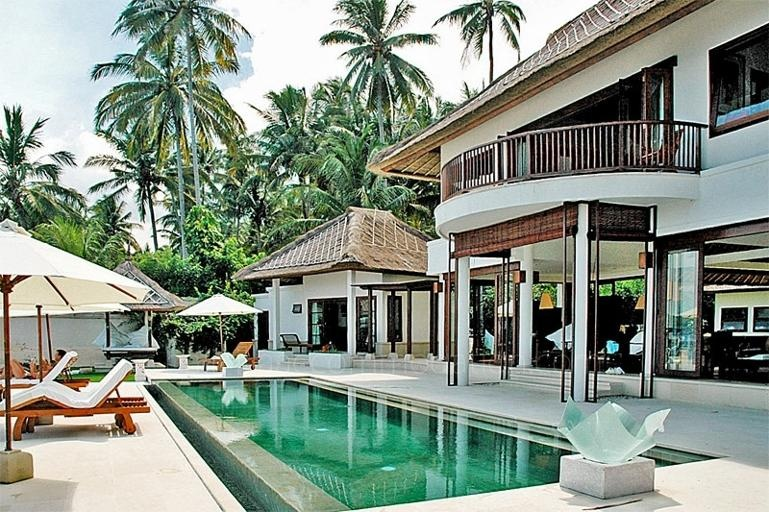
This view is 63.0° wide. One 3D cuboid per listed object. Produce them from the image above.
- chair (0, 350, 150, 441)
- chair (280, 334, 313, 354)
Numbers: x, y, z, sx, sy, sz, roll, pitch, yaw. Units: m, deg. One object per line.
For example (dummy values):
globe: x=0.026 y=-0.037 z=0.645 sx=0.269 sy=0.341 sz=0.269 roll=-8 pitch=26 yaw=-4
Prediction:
chair: x=-6.369 y=2.862 z=12.973 sx=2.858 sy=1.400 sz=1.549 roll=5 pitch=-7 yaw=-14
chair: x=-4.268 y=4.282 z=30.442 sx=0.927 sy=0.918 sz=1.765 roll=3 pitch=-6 yaw=-36
